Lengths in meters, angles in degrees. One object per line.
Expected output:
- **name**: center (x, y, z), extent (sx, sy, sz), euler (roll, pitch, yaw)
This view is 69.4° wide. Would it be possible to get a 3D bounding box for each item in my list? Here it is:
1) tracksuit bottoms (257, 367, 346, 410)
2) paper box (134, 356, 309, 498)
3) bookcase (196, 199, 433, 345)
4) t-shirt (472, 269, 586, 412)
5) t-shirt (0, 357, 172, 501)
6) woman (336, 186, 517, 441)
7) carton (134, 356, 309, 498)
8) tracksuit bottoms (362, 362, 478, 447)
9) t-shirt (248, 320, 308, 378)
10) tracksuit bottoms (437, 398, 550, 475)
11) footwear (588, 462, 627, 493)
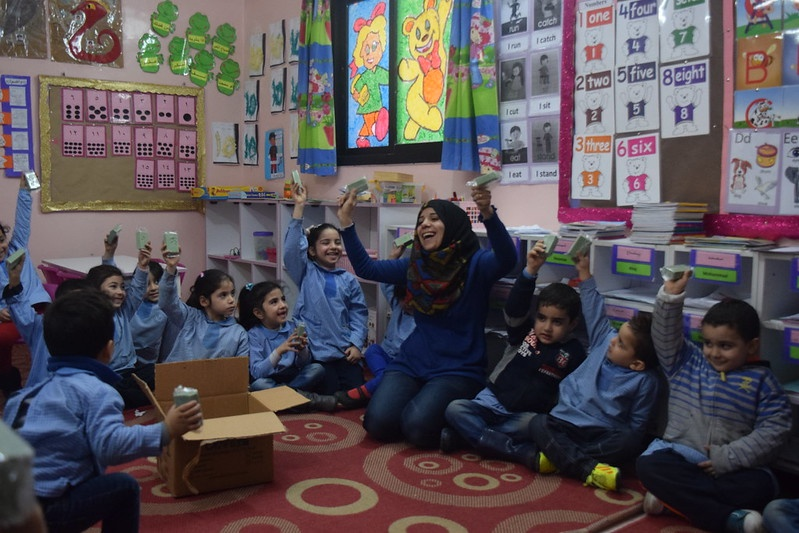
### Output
- **tracksuit bottoms**: center (-0.569, 0.676, 3.194), extent (0.299, 0.092, 0.265), euler (3, 14, -23)
- **paper box**: center (-0.758, 0.589, 2.474), extent (0.625, 0.424, 0.555), euler (-3, 6, -29)
- **bookcase**: center (-1.314, -0.183, 5.949), extent (1.296, 0.652, 2.197), euler (16, -6, -31)
- **t-shirt**: center (0.650, 0.375, 2.868), extent (0.411, 0.679, 0.396), euler (23, -2, 37)
- **t-shirt**: center (-1.035, 0.460, 1.939), extent (0.681, 0.424, 0.397), euler (0, 0, 39)
- **woman**: center (0.139, 0.225, 3.021), extent (0.952, 1.311, 0.687), euler (1, -2, 25)
- **carton**: center (-0.771, 0.668, 2.517), extent (0.673, 0.471, 0.597), euler (1, 3, -27)
- **tracksuit bottoms**: center (0.065, 0.675, 2.808), extent (0.302, 0.178, 0.520), euler (-1, 3, 31)
- **t-shirt**: center (-0.688, 0.467, 3.293), extent (0.260, 0.308, 0.321), euler (-1, -3, -33)
- **tracksuit bottoms**: center (0.474, 0.807, 2.843), extent (0.461, 0.199, 0.495), euler (6, 15, 9)
- **footwear**: center (0.876, 0.897, 2.451), extent (0.128, 0.089, 0.063), euler (8, 7, 28)
